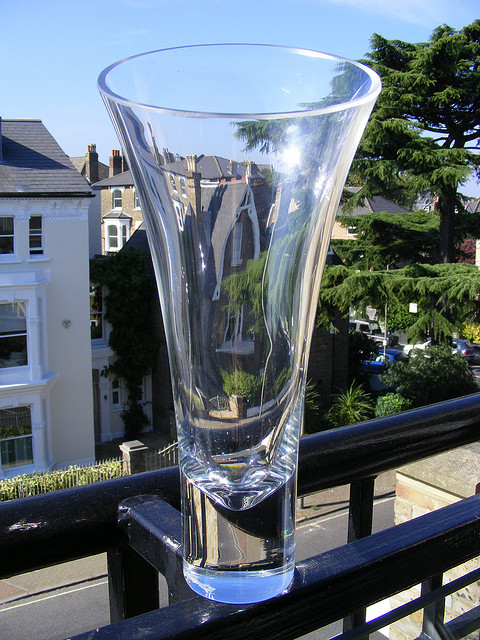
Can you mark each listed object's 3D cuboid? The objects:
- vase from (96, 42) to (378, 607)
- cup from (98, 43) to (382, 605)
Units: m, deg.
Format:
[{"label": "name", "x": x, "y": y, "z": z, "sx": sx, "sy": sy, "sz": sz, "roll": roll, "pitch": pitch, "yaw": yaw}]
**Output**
[{"label": "vase", "x": -0.001, "y": 0.025, "z": 0.294, "sx": 0.109, "sy": 0.204, "sz": 0.106, "roll": -1, "pitch": -9, "yaw": 11}, {"label": "cup", "x": -0.008, "y": -0.007, "z": 0.270, "sx": 0.122, "sy": 0.207, "sz": 0.102, "roll": 4, "pitch": -2, "yaw": 11}]
